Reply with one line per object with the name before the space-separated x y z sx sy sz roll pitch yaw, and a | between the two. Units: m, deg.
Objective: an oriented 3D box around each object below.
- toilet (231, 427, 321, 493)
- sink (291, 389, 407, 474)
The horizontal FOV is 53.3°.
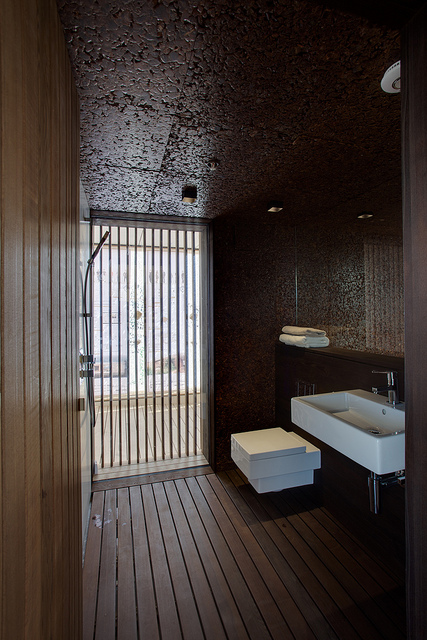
toilet | 0.355 0.794 2.490 0.344 0.219 0.396 -3 5 -16
sink | 0.634 0.434 1.838 0.387 0.157 0.684 -2 4 -18
